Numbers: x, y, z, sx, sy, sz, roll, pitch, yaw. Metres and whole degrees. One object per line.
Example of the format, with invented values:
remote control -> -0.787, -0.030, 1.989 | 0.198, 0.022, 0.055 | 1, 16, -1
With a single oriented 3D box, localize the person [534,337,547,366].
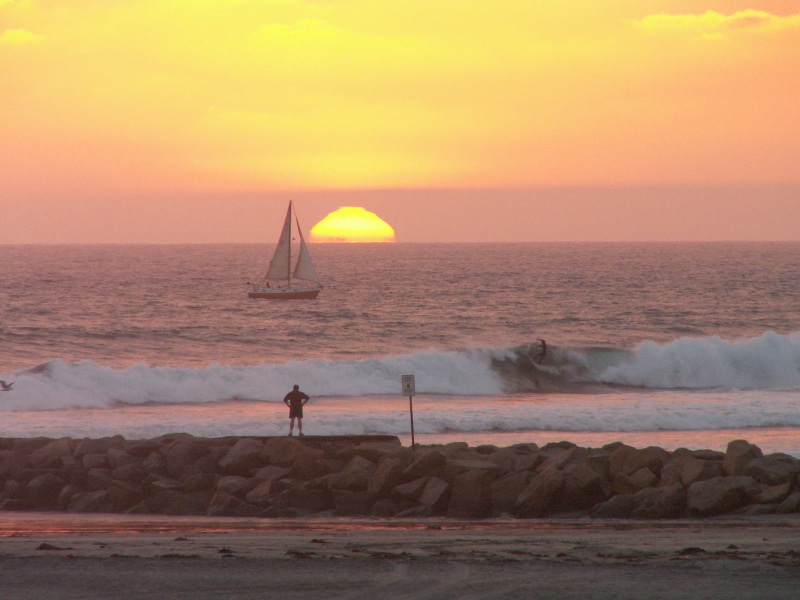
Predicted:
person -> 7.926, 2.905, 107.832 | 0.588, 1.366, 0.804 | -11, -40, 26
